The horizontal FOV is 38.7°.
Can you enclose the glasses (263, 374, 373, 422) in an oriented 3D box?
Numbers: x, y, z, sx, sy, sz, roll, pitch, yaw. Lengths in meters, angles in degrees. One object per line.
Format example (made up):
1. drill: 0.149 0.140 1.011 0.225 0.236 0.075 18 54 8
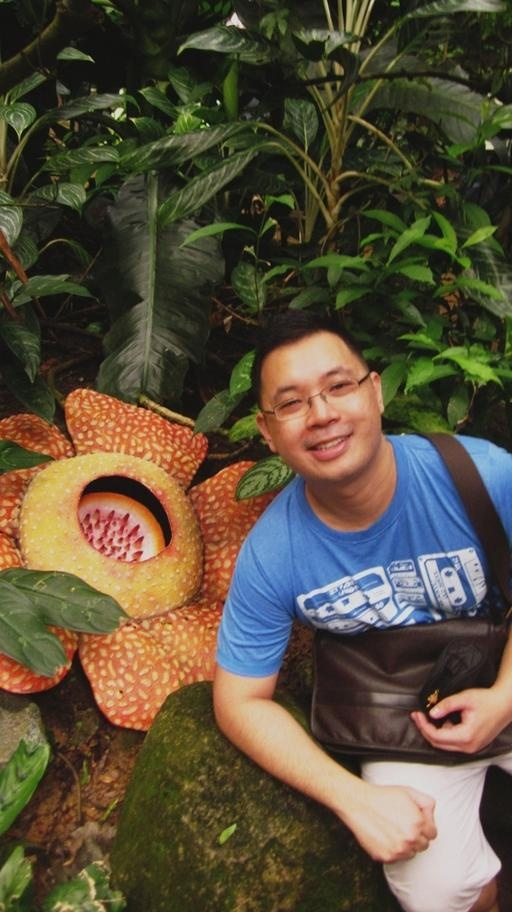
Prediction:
1. glasses: 0.148 -0.138 1.785 0.267 0.091 0.113 -7 26 1
